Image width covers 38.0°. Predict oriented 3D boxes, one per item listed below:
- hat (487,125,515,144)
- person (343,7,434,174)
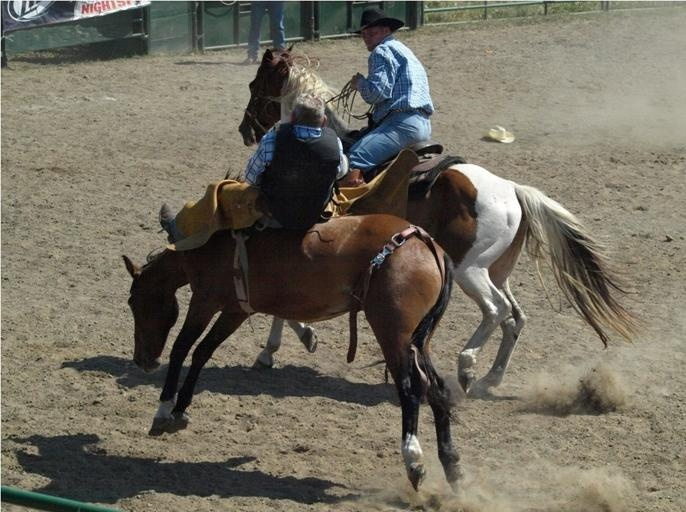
[{"bbox_3d":[2.390,-1.836,15.133,0.345,0.120,0.345,25,37,29],"label":"hat"},{"bbox_3d":[0.458,-1.570,9.570,0.798,1.408,1.007,3,23,4],"label":"person"}]
